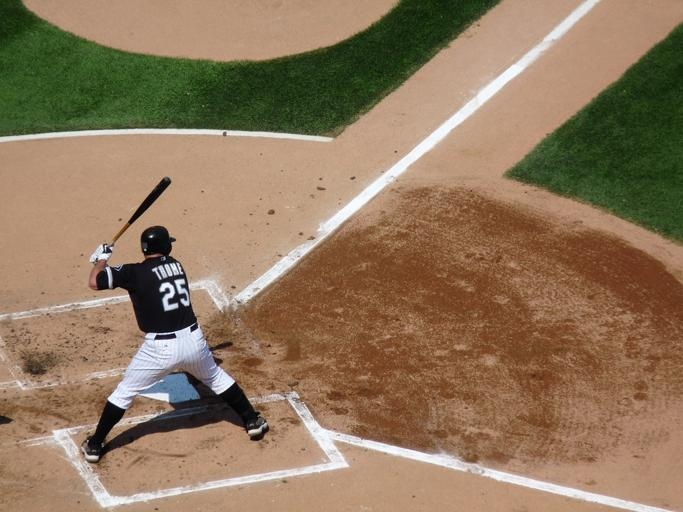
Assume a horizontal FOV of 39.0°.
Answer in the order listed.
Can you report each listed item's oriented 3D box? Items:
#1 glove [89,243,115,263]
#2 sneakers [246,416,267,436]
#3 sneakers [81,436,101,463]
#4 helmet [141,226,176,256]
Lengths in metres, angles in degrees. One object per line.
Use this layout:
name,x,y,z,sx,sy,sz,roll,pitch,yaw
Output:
glove,-3.622,-0.041,14.656,0.255,0.127,0.347,32,57,23
sneakers,-1.168,2.426,13.881,0.172,0.205,0.421,0,19,22
sneakers,-3.484,2.731,13.495,0.199,0.186,0.440,0,21,-18
helmet,-2.655,-0.262,13.759,0.363,0.414,0.465,14,32,29
